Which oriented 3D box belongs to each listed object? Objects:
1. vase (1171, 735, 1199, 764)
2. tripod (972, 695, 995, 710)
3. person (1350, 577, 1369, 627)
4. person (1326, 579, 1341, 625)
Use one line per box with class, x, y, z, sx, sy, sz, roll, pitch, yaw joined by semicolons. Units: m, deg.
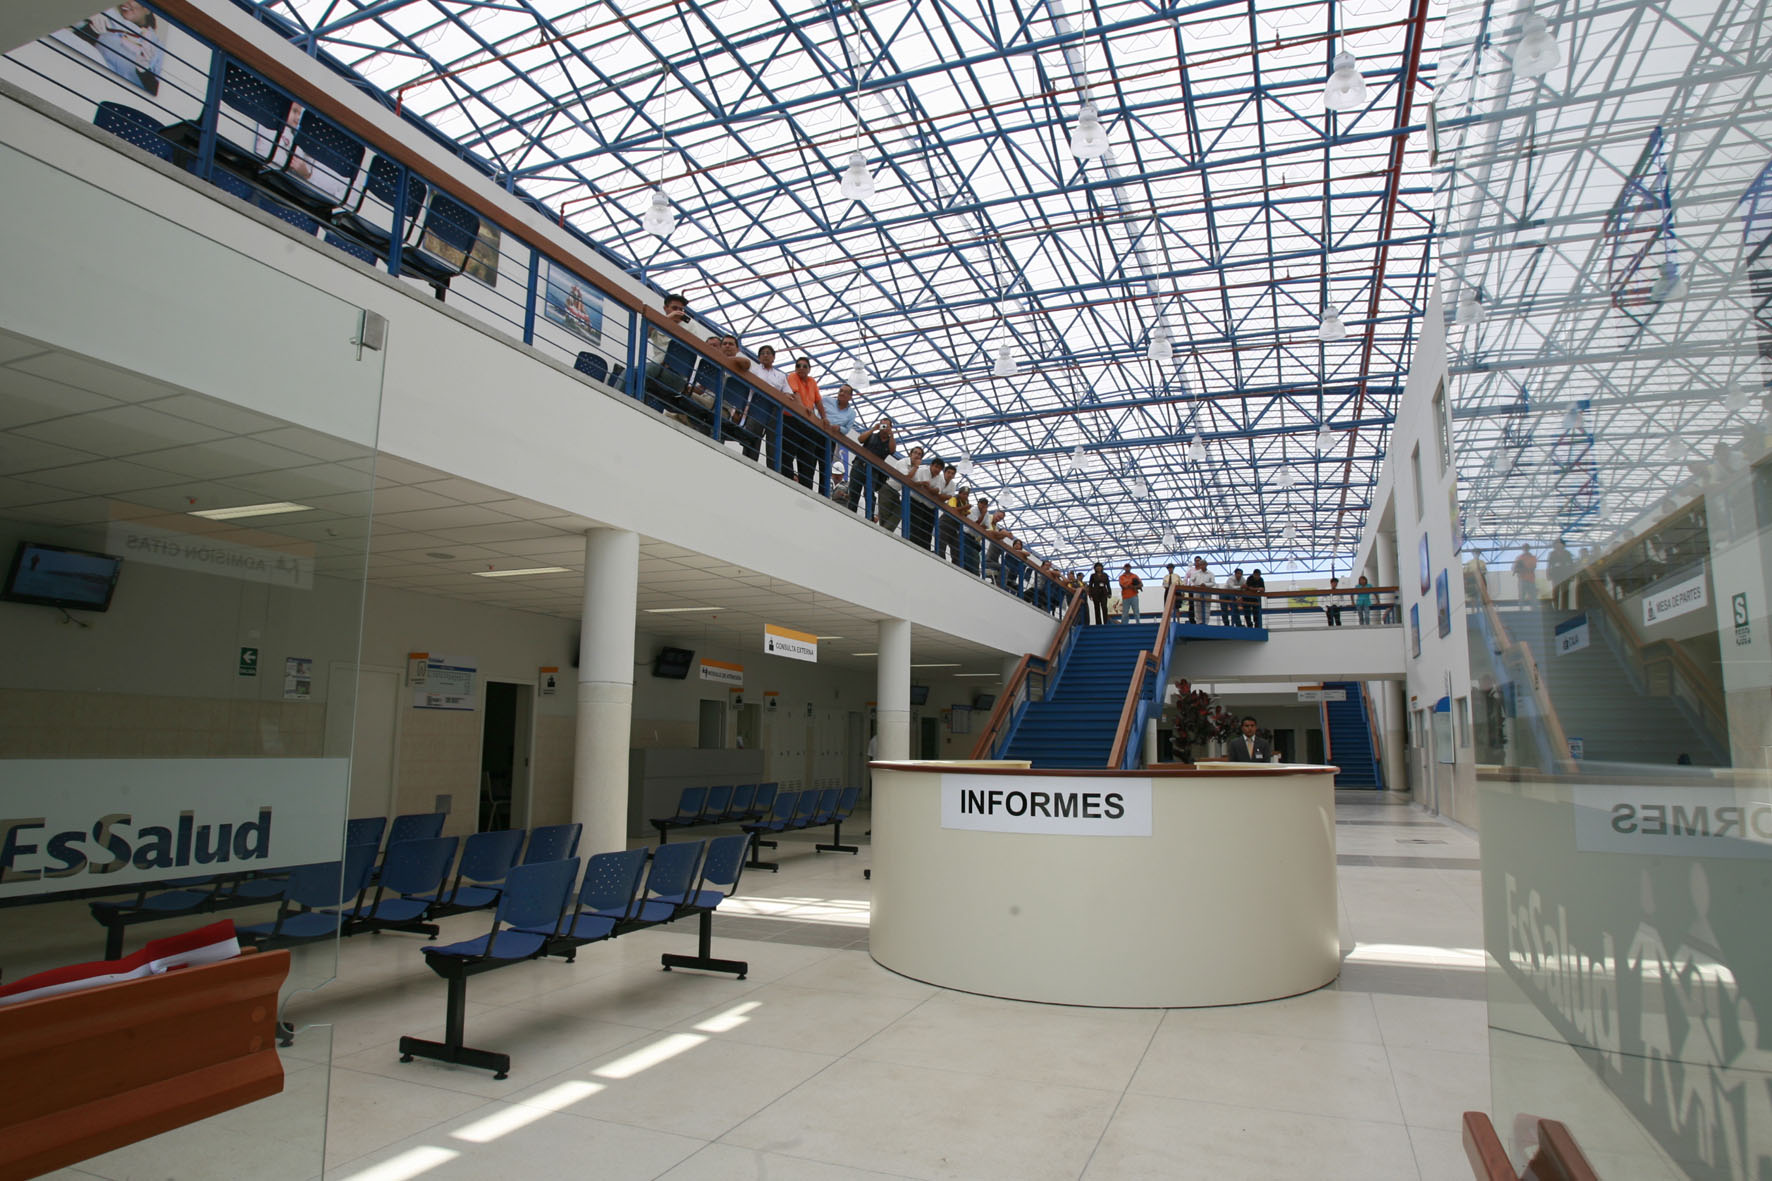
vase;3.703;1.974;12.558;0.337;0.300;0.961;-1;-6;16
tripod;2.740;3.212;28.734;0.117;0.489;0.529;13;1;34
person;10.424;0.343;22.248;0.353;0.790;0.493;-2;-6;25
person;9.895;0.313;22.523;0.285;0.989;1.691;-2;-6;23
